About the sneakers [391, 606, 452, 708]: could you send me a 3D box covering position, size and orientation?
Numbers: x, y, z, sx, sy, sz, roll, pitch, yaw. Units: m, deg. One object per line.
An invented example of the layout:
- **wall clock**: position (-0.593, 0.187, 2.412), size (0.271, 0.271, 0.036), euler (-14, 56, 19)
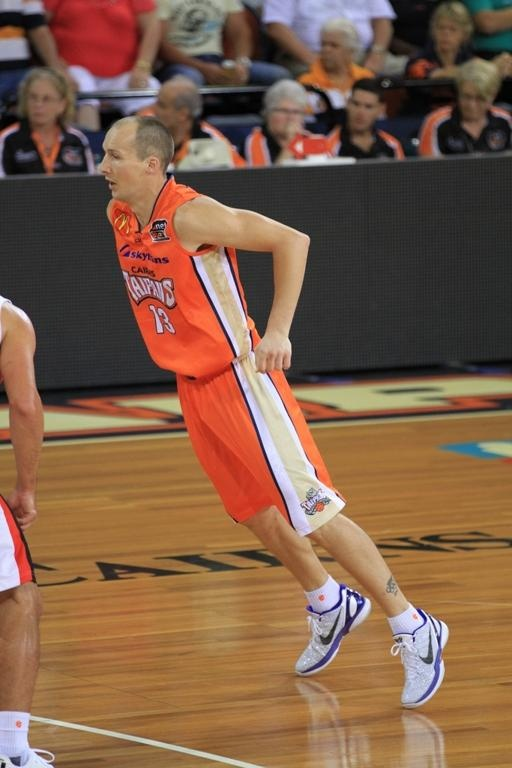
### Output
- **sneakers**: position (0.362, 0.609, 1.865), size (0.086, 0.111, 0.239), euler (-35, 15, 37)

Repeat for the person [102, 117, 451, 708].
- **person**: position (0.028, 0.049, 1.898), size (0.804, 1.336, 0.339), euler (-1, 6, 6)
